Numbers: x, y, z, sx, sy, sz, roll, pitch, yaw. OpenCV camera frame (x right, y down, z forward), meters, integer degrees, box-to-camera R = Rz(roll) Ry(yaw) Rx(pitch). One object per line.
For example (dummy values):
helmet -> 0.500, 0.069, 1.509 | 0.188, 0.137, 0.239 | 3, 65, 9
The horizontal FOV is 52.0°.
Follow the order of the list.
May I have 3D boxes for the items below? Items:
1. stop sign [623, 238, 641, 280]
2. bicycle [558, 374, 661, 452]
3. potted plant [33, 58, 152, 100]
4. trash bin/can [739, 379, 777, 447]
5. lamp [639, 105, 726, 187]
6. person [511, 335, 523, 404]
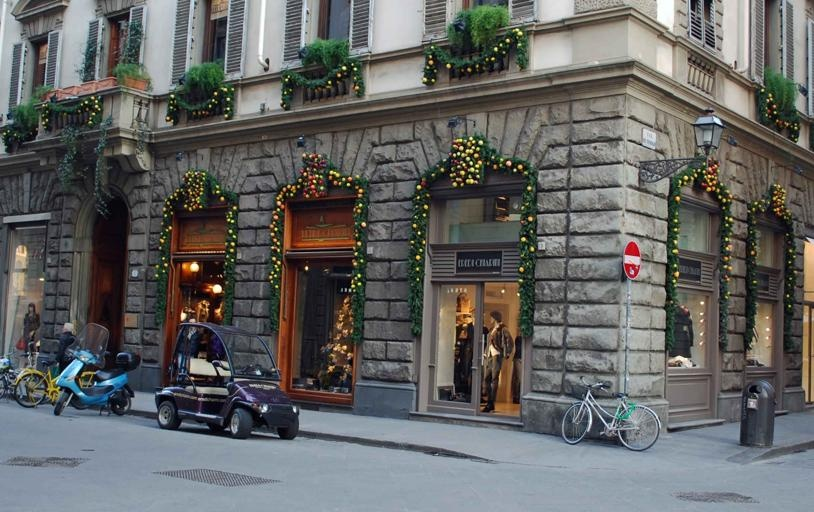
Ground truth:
stop sign -> 5.203, 0.085, 19.416 | 0.119, 1.172, 0.906 | 0, 2, 43
bicycle -> 4.581, 3.575, 18.909 | 2.094, 1.628, 1.031 | 2, 0, 13
potted plant -> -9.546, -5.466, 26.440 | 2.238, 0.800, 1.614 | -5, 4, -25
trash bin/can -> 7.964, 3.608, 18.946 | 0.687, 1.606, 0.414 | 2, 0, 18
lamp -> 6.833, -2.620, 20.170 | 1.693, 1.869, 2.068 | 2, 0, 40
person -> 2.708, 2.817, 20.561 | 0.111, 1.676, 0.340 | 2, 0, -26
